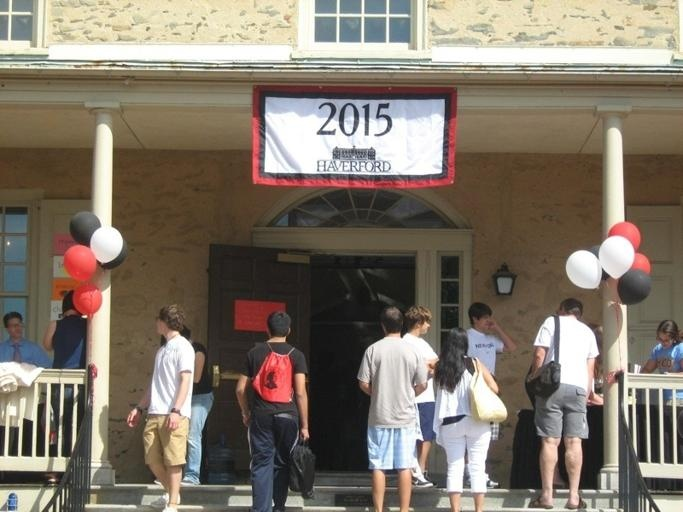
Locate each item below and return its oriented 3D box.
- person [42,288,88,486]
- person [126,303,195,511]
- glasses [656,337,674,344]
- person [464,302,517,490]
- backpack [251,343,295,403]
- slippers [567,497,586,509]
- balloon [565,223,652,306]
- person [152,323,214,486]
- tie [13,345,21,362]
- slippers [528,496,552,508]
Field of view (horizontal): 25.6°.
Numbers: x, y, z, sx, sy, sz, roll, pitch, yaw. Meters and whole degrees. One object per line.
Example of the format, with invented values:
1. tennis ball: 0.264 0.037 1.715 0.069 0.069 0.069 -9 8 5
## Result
1. person: -3.135 1.393 16.952 0.597 2.115 0.539 10 19 3
2. person: -1.811 1.569 15.873 0.767 2.081 0.610 10 0 -9
3. glasses: 3.713 0.942 17.164 0.139 0.046 0.135 8 -3 -21
4. person: 1.714 1.473 17.246 0.656 1.903 0.422 -3 9 9
5. backpack: -0.724 1.225 15.756 0.428 0.615 0.148 -1 -7 -3
6. slippers: 2.543 2.623 16.090 0.156 0.134 0.361 -6 -9 36
7. balloon: 2.948 0.096 16.353 0.892 0.883 0.403 -45 -6 2
8. person: -1.705 1.663 17.123 0.684 1.750 0.546 2 -1 -23
9. tie: -3.651 1.066 16.773 0.081 0.196 0.057 0 -7 -11
10. slippers: 2.134 2.624 16.123 0.281 0.111 0.099 2 3 42
